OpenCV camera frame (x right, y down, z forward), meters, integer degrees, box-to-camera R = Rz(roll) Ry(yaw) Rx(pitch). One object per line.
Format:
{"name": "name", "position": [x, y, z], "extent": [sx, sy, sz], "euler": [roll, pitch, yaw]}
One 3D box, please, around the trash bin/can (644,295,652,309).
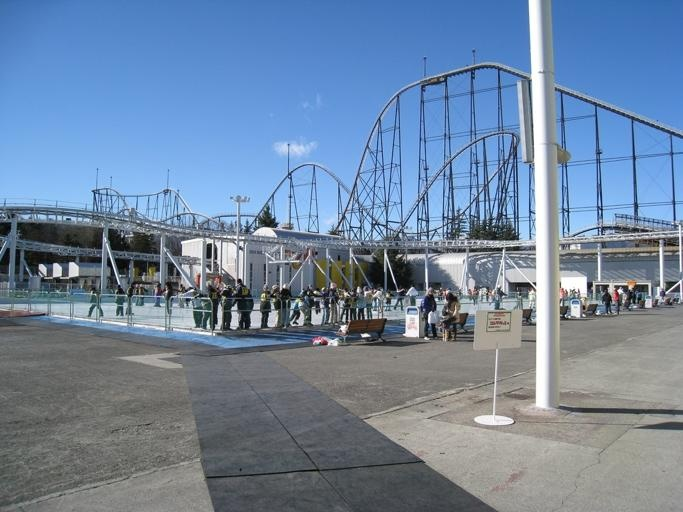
{"name": "trash bin/can", "position": [21.141, 2.914, 40.183], "extent": [0.652, 1.243, 0.697], "euler": [0, -4, 32]}

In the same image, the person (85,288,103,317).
{"name": "person", "position": [-10.181, 1.891, 24.090], "extent": [0.441, 1.073, 1.658], "euler": [-1, 1, -29]}

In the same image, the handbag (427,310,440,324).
{"name": "handbag", "position": [3.065, 1.939, 19.485], "extent": [0.218, 0.476, 0.630], "euler": [0, 1, 27]}

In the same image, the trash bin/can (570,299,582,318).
{"name": "trash bin/can", "position": [11.971, 2.495, 29.726], "extent": [0.403, 0.956, 0.701], "euler": [0, 1, 3]}
